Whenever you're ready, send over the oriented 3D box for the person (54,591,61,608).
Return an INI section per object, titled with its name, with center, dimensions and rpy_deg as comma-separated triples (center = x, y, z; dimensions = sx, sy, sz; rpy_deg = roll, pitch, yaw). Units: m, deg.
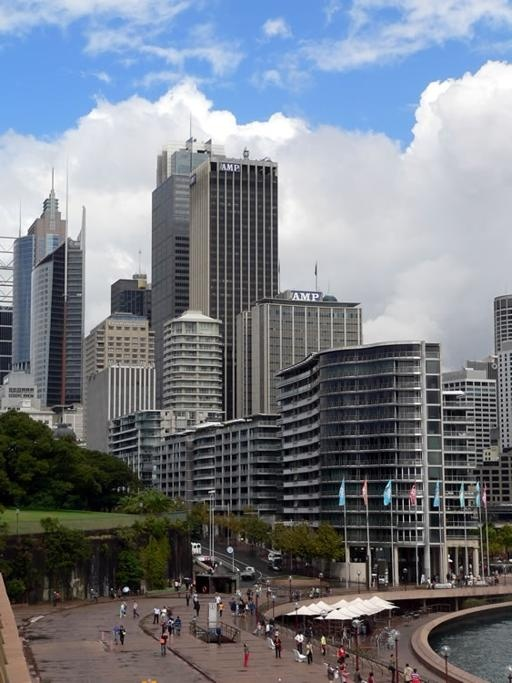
[person]
center = -18.492, 24.131, 119.769
dimensions = 0.648, 1.128, 2.088
rpy_deg = 0, -5, -6
